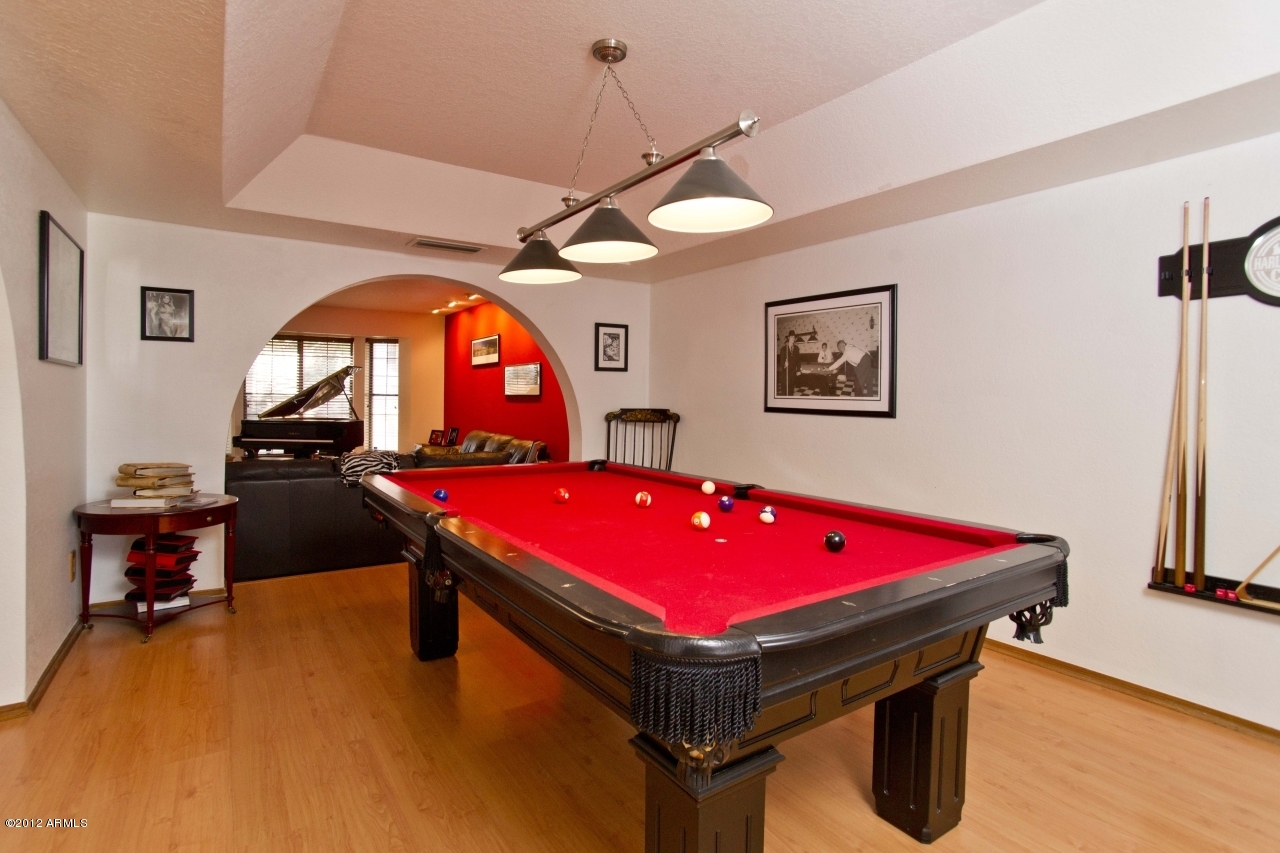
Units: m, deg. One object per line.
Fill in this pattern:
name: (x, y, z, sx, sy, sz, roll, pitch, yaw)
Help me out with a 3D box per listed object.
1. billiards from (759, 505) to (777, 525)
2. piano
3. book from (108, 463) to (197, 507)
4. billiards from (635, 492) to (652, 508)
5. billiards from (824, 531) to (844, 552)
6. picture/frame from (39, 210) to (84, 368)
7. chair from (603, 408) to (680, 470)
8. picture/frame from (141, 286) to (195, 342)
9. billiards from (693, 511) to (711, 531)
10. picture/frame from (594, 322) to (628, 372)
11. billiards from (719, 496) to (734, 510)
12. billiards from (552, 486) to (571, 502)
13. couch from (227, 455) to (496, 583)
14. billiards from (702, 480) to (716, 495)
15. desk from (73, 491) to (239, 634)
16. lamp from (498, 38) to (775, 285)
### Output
billiards: (0.642, 0.464, 4.371, 0.081, 0.093, 0.080, 3, -6, -39)
piano: (-3.607, -0.115, 9.074, 0.877, 0.955, 1.294, 0, -3, -27)
book: (-3.169, 0.374, 5.568, 0.324, 0.214, 0.425, 1, 1, 33)
billiards: (0.010, 0.400, 4.629, 0.074, 0.073, 0.038, 5, -41, 3)
billiards: (0.881, 0.531, 3.908, 0.070, 0.087, 0.088, 2, -7, 18)
picture/frame: (-3.477, -0.816, 5.138, 0.098, 0.949, 0.992, -2, 6, -25)
chair: (0.012, 0.119, 7.900, 0.588, 0.864, 0.586, 1, -5, 5)
picture/frame: (-3.358, -0.788, 6.061, 0.406, 0.461, 0.032, 3, -5, -34)
billiards: (0.304, 0.470, 4.252, 0.086, 0.068, 0.066, -4, 6, 10)
picture/frame: (-0.289, -0.718, 7.806, 0.473, 0.560, 0.041, 1, -2, -37)
billiards: (0.453, 0.407, 4.565, 0.064, 0.072, 0.064, 4, 13, 15)
billiards: (-0.440, 0.383, 4.751, 0.069, 0.052, 0.068, 2, 5, -3)
couch: (-2.519, 0.715, 6.570, 1.115, 0.832, 0.369, -8, 15, -25)
billiards: (0.387, 0.352, 4.911, 0.067, 0.060, 0.100, -4, 14, -13)
desk: (-3.207, 0.881, 5.723, 0.841, 0.852, 0.918, 6, 6, 41)
lamp: (-0.136, -1.452, 4.518, 1.749, 1.139, 0.486, -10, -12, 41)
